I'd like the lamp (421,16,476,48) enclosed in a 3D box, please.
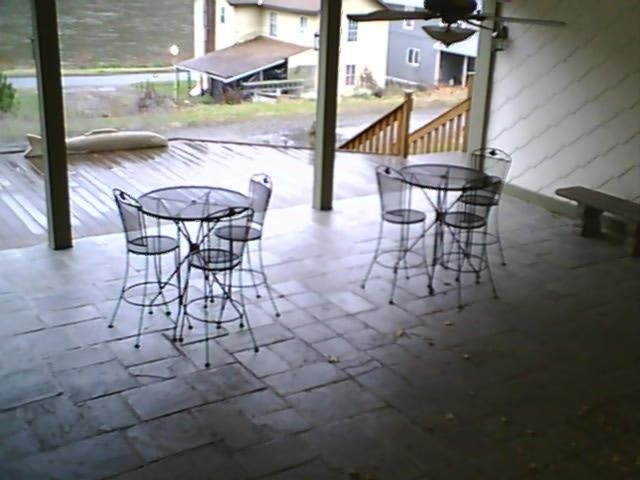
[{"bbox_3d":[0.945,-1.494,3.874,0.246,0.113,0.240,-11,25,-24],"label":"lamp"}]
